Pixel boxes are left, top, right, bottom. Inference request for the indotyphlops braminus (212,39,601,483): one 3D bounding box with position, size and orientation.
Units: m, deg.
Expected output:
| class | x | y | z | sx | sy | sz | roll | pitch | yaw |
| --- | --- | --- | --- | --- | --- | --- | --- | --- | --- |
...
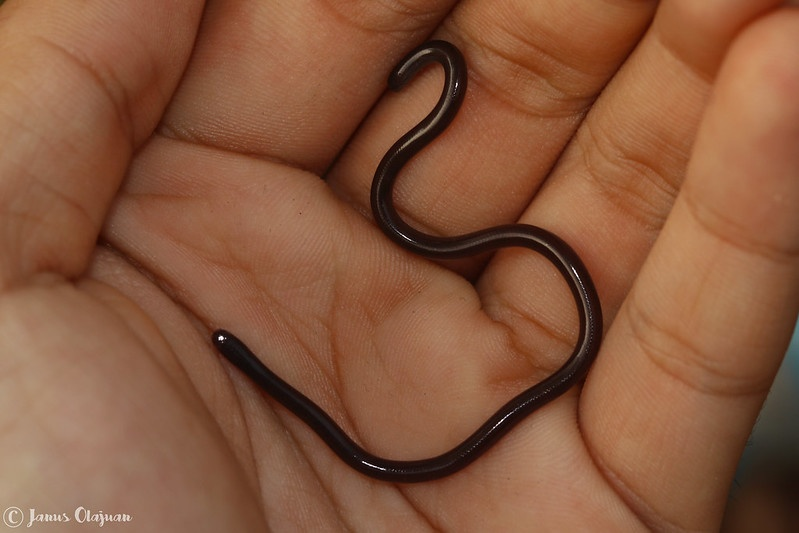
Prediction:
| class | x | y | z | sx | sy | sz | roll | pitch | yaw |
| --- | --- | --- | --- | --- | --- | --- | --- | --- | --- |
| indotyphlops braminus | 0.106 | 0.112 | 2.561 | 1.100 | 0.995 | 0.959 | 39 | 41 | 16 |
